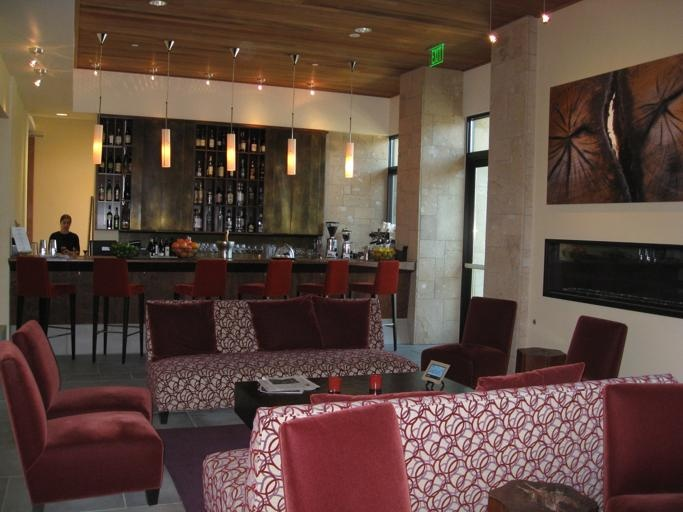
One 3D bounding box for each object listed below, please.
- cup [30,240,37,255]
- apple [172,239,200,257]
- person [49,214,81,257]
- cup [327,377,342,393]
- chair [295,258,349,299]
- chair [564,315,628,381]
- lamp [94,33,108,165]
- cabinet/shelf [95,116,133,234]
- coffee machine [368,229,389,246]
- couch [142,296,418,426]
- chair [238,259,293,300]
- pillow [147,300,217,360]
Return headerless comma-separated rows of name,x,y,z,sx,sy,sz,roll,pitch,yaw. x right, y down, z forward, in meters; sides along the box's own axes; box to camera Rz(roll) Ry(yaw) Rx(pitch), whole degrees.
cup,-4.057,-0.103,7.249,0.084,0.160,0.426,-1,4,-30
apple,-2.190,-0.114,7.595,0.264,0.166,0.257,4,3,19
person,-4.599,-0.323,9.105,0.406,0.764,0.465,0,-2,39
cup,-0.051,0.879,3.797,0.117,0.143,0.120,1,0,0
chair,-0.285,0.395,7.555,0.545,0.789,0.479,4,2,29
chair,2.229,0.823,4.823,0.238,0.521,0.496,-1,3,-24
lamp,-3.367,-2.195,7.632,0.188,1.791,0.203,11,9,36
cabinet/shelf,-4.078,-1.670,9.469,0.478,1.403,0.179,19,-1,45
coffee machine,0.651,-0.290,8.904,0.263,0.196,0.238,1,-1,40
couch,-0.578,0.912,5.440,2.590,1.254,1.153,2,-7,-24
chair,-0.989,0.439,7.095,0.477,0.909,0.482,8,5,30
pillow,-1.548,0.726,5.237,0.483,0.420,0.188,-2,-32,-25
